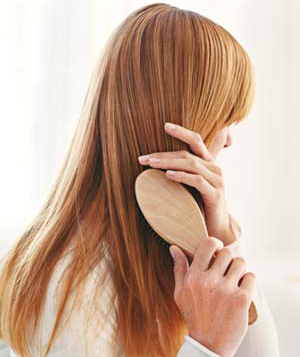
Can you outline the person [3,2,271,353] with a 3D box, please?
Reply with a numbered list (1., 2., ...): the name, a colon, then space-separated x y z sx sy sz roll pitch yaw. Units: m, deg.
1. person: 0.008 -0.053 1.170 0.507 1.317 0.407 0 6 5
